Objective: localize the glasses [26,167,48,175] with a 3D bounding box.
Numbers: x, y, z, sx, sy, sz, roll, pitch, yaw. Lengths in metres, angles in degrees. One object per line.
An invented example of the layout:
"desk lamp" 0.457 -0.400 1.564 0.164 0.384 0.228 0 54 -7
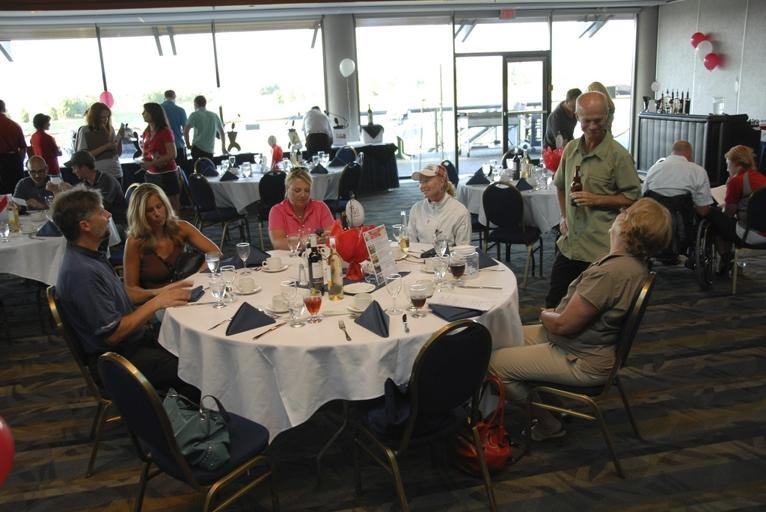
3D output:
"glasses" -3.710 -0.898 5.868 0.150 0.103 0.110 -10 16 -22

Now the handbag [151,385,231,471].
"handbag" -0.955 0.890 2.767 0.310 0.147 0.397 15 15 22

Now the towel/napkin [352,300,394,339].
"towel/napkin" -0.051 0.363 3.100 0.178 0.073 0.185 14 42 38

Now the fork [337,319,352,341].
"fork" -0.213 0.420 3.153 0.034 0.028 0.238 -16 27 -1

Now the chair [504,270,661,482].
"chair" 1.424 0.561 4.228 1.162 2.022 1.087 4 8 25

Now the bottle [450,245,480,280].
"bottle" 0.561 0.031 3.673 0.211 0.208 0.213 4 13 20

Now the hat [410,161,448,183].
"hat" 0.398 -0.692 4.431 0.236 0.114 0.152 3 -5 -26

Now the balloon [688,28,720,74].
"balloon" 6.262 -3.978 10.590 0.331 0.816 0.328 -6 -12 15

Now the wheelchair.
"wheelchair" 3.055 -0.267 5.482 0.734 0.659 0.880 7 30 39

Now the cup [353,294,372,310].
"cup" -0.126 0.273 3.273 0.084 0.067 0.093 0 3 15
